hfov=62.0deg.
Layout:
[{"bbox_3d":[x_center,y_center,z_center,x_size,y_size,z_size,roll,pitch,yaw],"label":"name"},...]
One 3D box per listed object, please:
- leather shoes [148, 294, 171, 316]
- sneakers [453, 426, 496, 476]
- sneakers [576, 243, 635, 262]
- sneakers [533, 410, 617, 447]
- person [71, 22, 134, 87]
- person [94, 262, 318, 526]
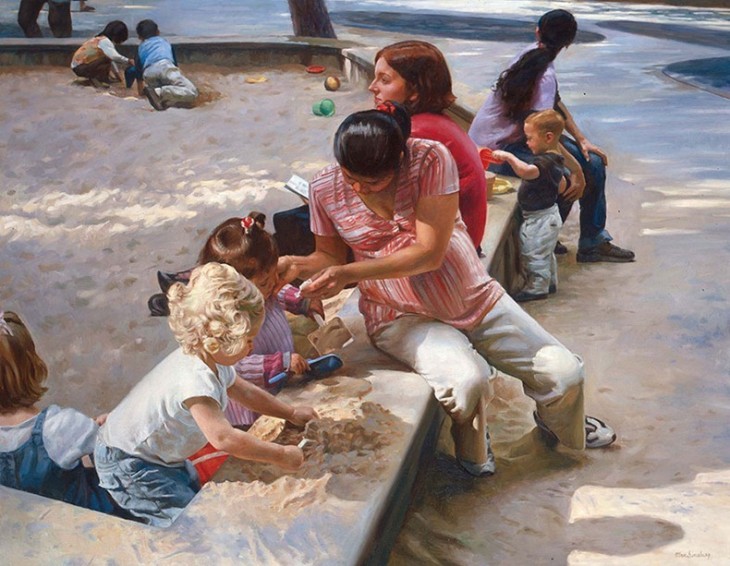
[{"bbox_3d":[-1.270,0.143,3.761,0.124,0.120,0.109,-40,24,6],"label":"leather shoes"},{"bbox_3d":[0.500,0.765,2.781,0.145,0.095,0.280,-5,13,-1],"label":"sneakers"},{"bbox_3d":[1.796,-0.223,4.517,0.402,0.120,0.149,-1,10,5],"label":"sneakers"},{"bbox_3d":[0.994,0.702,2.864,0.444,0.149,0.150,5,52,15],"label":"sneakers"},{"bbox_3d":[-3.266,-2.833,7.521,0.728,0.733,0.882,-12,27,-14],"label":"person"},{"bbox_3d":[-0.585,0.445,2.335,0.978,1.145,0.464,2,50,-12],"label":"person"}]
